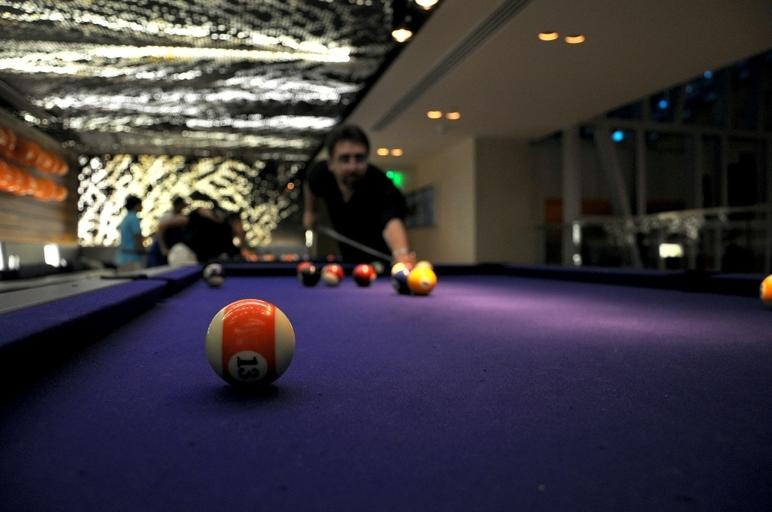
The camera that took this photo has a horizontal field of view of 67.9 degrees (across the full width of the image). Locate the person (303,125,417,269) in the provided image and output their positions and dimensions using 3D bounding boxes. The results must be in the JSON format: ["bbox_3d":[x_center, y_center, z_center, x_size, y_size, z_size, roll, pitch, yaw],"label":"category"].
[{"bbox_3d":[-0.231,-0.590,5.871,1.037,1.669,0.878,0,7,-9],"label":"person"}]

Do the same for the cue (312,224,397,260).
[{"bbox_3d":[-0.355,-0.158,6.547,0.155,0.191,1.979,24,-3,-41],"label":"cue"}]
